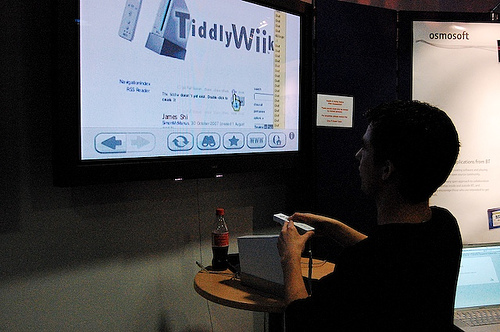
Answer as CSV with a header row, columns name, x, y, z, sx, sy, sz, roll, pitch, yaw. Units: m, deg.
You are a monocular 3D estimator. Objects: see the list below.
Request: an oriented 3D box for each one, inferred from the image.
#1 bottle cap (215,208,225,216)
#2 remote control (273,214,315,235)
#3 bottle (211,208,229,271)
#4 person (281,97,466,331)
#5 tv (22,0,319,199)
name,x,y,z,sx,sy,sz,roll,pitch,yaw
bottle cap,-0.176,0.271,2.250,0.054,0.039,0.054,1,0,-16
remote control,0.229,0.297,1.934,0.173,0.035,0.095,27,11,33
bottle,-0.190,0.420,2.330,0.098,0.365,0.288,-2,8,-5
person,0.522,0.213,1.581,0.754,0.961,0.379,-1,8,3
tv,-0.484,-0.397,2.123,1.319,0.891,0.149,-3,2,-33
